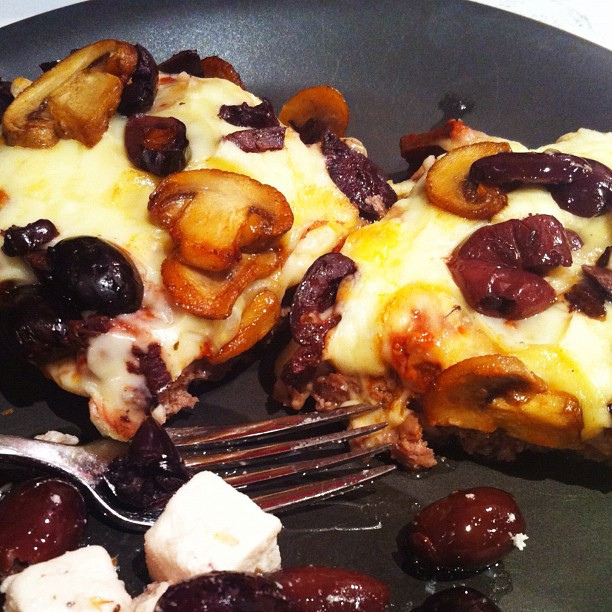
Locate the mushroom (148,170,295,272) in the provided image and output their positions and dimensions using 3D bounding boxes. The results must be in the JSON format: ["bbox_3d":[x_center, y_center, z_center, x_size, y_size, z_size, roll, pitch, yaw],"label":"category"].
[{"bbox_3d":[-0.399,-0.415,3.494,0.699,0.169,0.397,7,73,2],"label":"mushroom"}]
